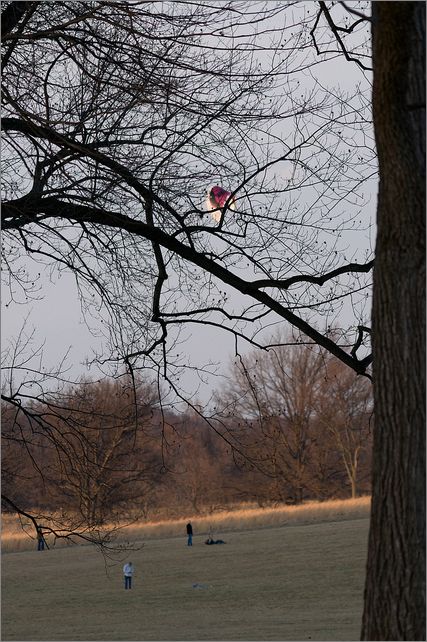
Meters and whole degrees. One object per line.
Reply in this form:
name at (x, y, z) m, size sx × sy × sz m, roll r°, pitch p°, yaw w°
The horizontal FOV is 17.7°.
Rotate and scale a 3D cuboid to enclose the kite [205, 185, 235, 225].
kite at (0.057, -1.430, 17.169) m, size 0.331 × 0.413 × 1.034 m, roll -6°, pitch -2°, yaw 0°
